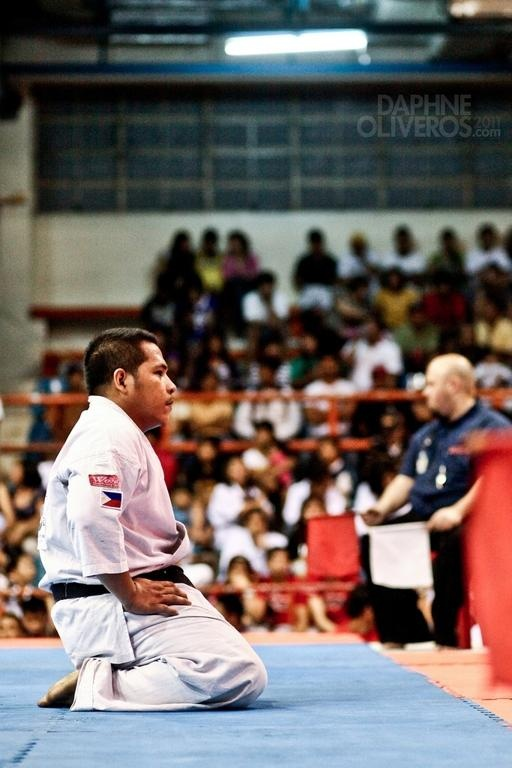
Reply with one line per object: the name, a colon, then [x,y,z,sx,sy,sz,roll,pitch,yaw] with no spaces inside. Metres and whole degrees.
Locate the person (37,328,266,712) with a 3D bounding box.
person: [-0.376,0.447,4.764,0.758,1.313,0.449,0,-1,-8]
